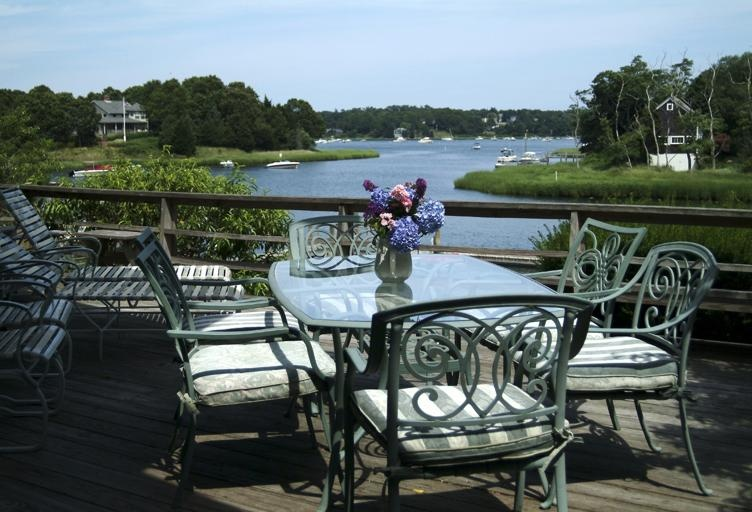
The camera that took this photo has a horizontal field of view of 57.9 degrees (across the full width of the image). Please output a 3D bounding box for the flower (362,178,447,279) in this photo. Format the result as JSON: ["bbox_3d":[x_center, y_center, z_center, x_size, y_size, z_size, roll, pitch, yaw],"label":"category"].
[{"bbox_3d":[0.141,-0.185,4.183,0.540,0.639,0.557,1,9,2],"label":"flower"}]
